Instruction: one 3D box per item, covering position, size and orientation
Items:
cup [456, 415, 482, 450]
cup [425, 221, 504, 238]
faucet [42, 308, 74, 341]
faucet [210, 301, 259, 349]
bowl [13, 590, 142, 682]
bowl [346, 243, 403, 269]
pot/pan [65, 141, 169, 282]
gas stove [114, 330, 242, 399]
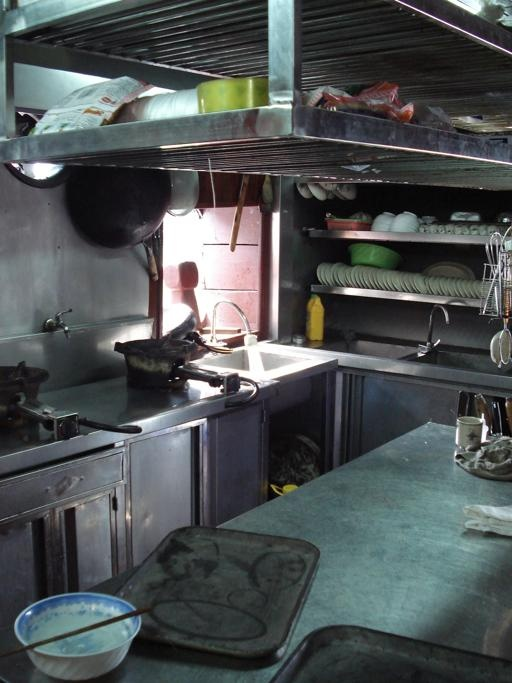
[{"bbox_3d":[0.635,0.273,1.702,0.089,0.088,0.094,0,4,0],"label":"cup"},{"bbox_3d":[1.035,-0.573,2.876,0.441,0.088,0.159,9,8,42],"label":"cup"},{"bbox_3d":[-0.782,-0.074,2.229,0.111,0.061,0.137,-5,27,24],"label":"faucet"},{"bbox_3d":[-0.128,-0.097,3.028,0.279,0.198,0.266,1,9,15],"label":"faucet"},{"bbox_3d":[-0.224,0.336,0.694,0.115,0.038,0.115,5,15,-1],"label":"bowl"},{"bbox_3d":[0.715,-0.501,3.351,0.210,0.079,0.197,12,-21,5],"label":"bowl"},{"bbox_3d":[-0.560,-0.559,2.339,0.316,0.287,0.381,-15,-26,33],"label":"pot/pan"},{"bbox_3d":[-0.288,0.047,2.331,0.462,0.136,0.378,20,29,35],"label":"gas stove"}]
